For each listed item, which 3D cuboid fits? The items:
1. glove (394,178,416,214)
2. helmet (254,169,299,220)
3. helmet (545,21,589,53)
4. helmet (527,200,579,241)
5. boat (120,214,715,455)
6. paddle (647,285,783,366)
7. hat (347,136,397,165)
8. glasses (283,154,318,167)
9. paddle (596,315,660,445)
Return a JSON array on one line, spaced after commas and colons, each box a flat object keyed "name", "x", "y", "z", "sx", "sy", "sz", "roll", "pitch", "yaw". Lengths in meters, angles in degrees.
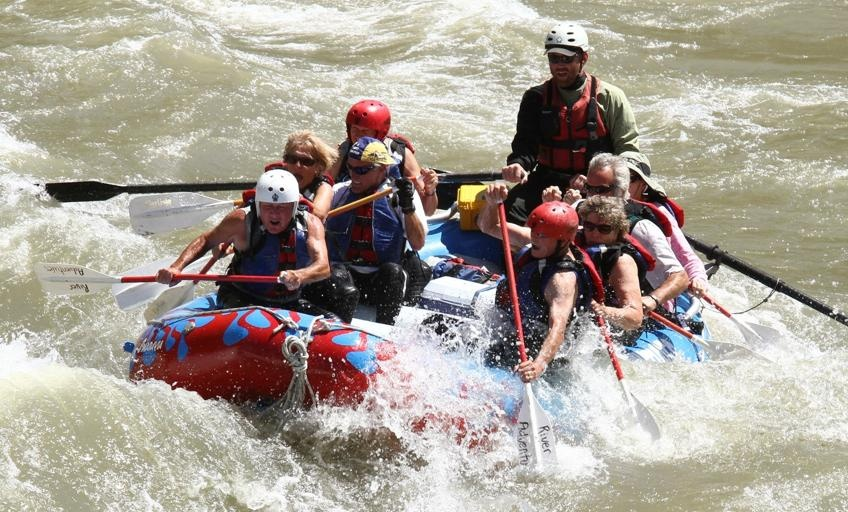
[{"name": "glove", "x": -0.228, "y": -0.720, "z": 12.346, "sx": 0.125, "sy": 0.368, "sz": 0.276, "roll": -7, "pitch": 5, "yaw": -28}, {"name": "helmet", "x": -1.679, "y": -0.771, "z": 11.738, "sx": 0.389, "sy": 0.428, "sz": 0.522, "roll": 1, "pitch": 3, "yaw": -2}, {"name": "helmet", "x": 1.831, "y": -2.823, "z": 13.249, "sx": 0.506, "sy": 0.313, "sz": 0.575, "roll": 8, "pitch": 29, "yaw": 10}, {"name": "helmet", "x": 1.423, "y": -0.430, "z": 11.534, "sx": 0.504, "sy": 0.409, "sz": 0.373, "roll": -8, "pitch": 28, "yaw": -25}, {"name": "boat", "x": -0.198, "y": 1.006, "z": 12.200, "sx": 4.928, "sy": 0.938, "sz": 2.850, "roll": 11, "pitch": 21, "yaw": -28}, {"name": "paddle", "x": 3.530, "y": 1.003, "z": 12.799, "sx": 1.358, "sy": 0.372, "sz": 0.881, "roll": 40, "pitch": 72, "yaw": 7}, {"name": "hat", "x": -0.613, "y": -1.242, "z": 12.431, "sx": 0.321, "sy": 0.175, "sz": 0.493, "roll": 19, "pitch": -1, "yaw": 45}, {"name": "glasses", "x": -1.532, "y": -1.182, "z": 12.681, "sx": 0.378, "sy": 0.158, "sz": 0.066, "roll": 2, "pitch": 30, "yaw": 1}, {"name": "paddle", "x": 2.296, "y": 1.468, "z": 11.814, "sx": 0.268, "sy": 1.516, "sz": 0.217, "roll": -28, "pitch": -12, "yaw": 10}]
